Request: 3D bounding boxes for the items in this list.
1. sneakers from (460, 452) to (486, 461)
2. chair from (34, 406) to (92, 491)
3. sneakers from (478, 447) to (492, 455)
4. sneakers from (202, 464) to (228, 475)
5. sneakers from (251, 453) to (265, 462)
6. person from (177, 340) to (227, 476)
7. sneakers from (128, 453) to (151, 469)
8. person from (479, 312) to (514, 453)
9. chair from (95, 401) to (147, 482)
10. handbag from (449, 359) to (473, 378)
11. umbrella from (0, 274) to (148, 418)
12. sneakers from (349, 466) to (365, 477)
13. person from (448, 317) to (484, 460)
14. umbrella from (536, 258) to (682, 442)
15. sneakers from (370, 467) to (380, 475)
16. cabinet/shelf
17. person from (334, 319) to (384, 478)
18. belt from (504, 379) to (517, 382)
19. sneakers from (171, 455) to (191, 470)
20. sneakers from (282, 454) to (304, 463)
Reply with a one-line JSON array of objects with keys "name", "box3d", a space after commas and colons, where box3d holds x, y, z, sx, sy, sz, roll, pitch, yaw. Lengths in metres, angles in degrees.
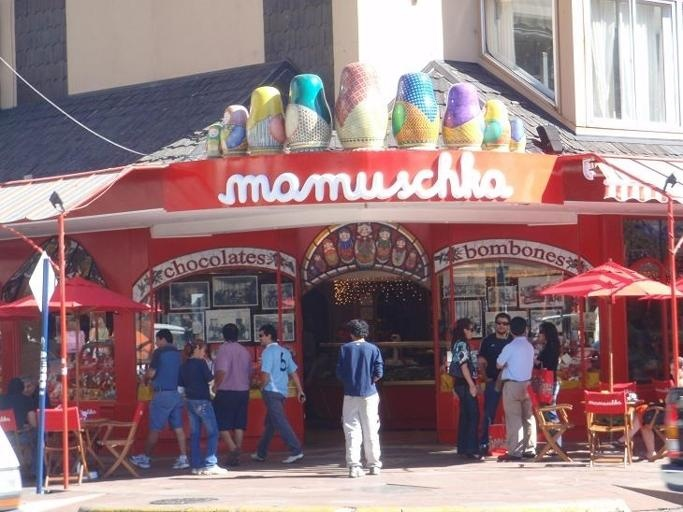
[{"name": "sneakers", "box3d": [2.090, 3.167, 17.393, 0.346, 0.153, 0.130, -1, 1, 10]}, {"name": "chair", "box3d": [-4.117, 2.810, 16.352, 0.625, 1.102, 0.789, -3, -5, 4]}, {"name": "sneakers", "box3d": [2.320, 3.129, 17.570, 0.118, 0.167, 0.212, 7, -11, -29]}, {"name": "sneakers", "box3d": [-1.914, 3.261, 16.827, 0.341, 0.176, 0.143, 1, -2, -11]}, {"name": "sneakers", "box3d": [-1.337, 3.261, 17.852, 0.237, 0.112, 0.095, 17, 20, 29]}, {"name": "person", "box3d": [-2.163, 2.342, 17.086, 0.667, 2.056, 0.609, -1, -8, -9]}, {"name": "sneakers", "box3d": [-3.269, 3.290, 17.763, 0.373, 0.228, 0.158, 13, 3, 8]}, {"name": "person", "box3d": [2.583, 1.989, 17.792, 0.596, 2.235, 0.451, -1, 23, 3]}, {"name": "chair", "box3d": [-3.486, 2.891, 17.502, 0.658, 1.078, 0.731, -1, 3, -12]}, {"name": "handbag", "box3d": [1.947, 1.786, 17.365, 0.407, 0.264, 0.364, -1, -8, -8]}, {"name": "umbrella", "box3d": [-4.326, 1.311, 17.312, 1.967, 1.853, 2.248, 1, -3, -6]}, {"name": "sneakers", "box3d": [0.269, 3.171, 16.179, 0.273, 0.165, 0.209, 0, -8, -20]}, {"name": "person", "box3d": [1.974, 2.091, 17.423, 0.437, 2.219, 0.643, -3, -7, 7]}, {"name": "umbrella", "box3d": [4.340, 1.255, 17.787, 1.973, 2.078, 2.119, 2, -2, 20]}, {"name": "sneakers", "box3d": [0.525, 3.172, 16.297, 0.109, 0.086, 0.114, 0, 0, 19]}, {"name": "cabinet/shelf", "box3d": [0.814, 2.428, 21.557, 2.360, 1.695, 1.701, 0, 1, 12]}, {"name": "person", "box3d": [0.300, 2.101, 16.273, 0.665, 2.301, 0.482, -2, -7, 1]}, {"name": "belt", "box3d": [2.667, 1.936, 17.127, 0.199, 0.050, 0.062, -6, -8, 21]}, {"name": "sneakers", "box3d": [-2.605, 3.308, 17.662, 0.345, 0.268, 0.147, -1, -3, 12]}, {"name": "sneakers", "box3d": [-0.744, 3.229, 17.553, 0.356, 0.160, 0.138, -10, 10, 6]}]
